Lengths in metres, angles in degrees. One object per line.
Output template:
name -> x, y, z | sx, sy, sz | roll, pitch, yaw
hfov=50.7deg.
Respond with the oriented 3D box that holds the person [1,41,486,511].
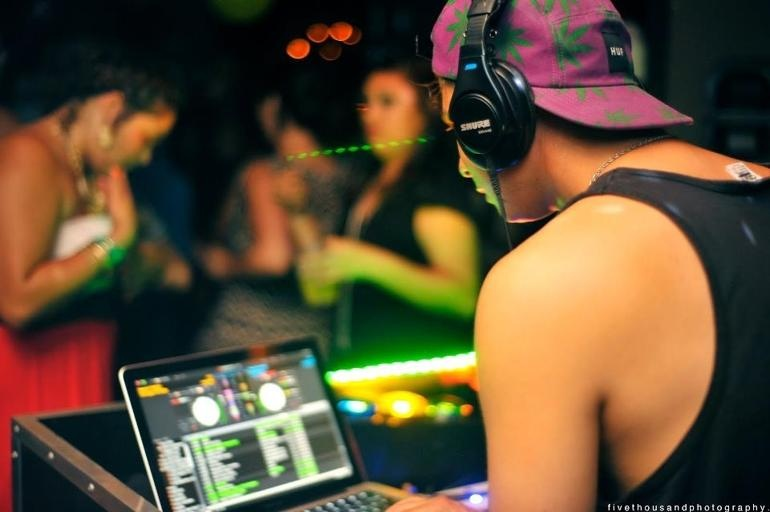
person -> -0.391, 0.122, 3.500 | 1.275, 2.448, 0.903 | 3, -13, -2
